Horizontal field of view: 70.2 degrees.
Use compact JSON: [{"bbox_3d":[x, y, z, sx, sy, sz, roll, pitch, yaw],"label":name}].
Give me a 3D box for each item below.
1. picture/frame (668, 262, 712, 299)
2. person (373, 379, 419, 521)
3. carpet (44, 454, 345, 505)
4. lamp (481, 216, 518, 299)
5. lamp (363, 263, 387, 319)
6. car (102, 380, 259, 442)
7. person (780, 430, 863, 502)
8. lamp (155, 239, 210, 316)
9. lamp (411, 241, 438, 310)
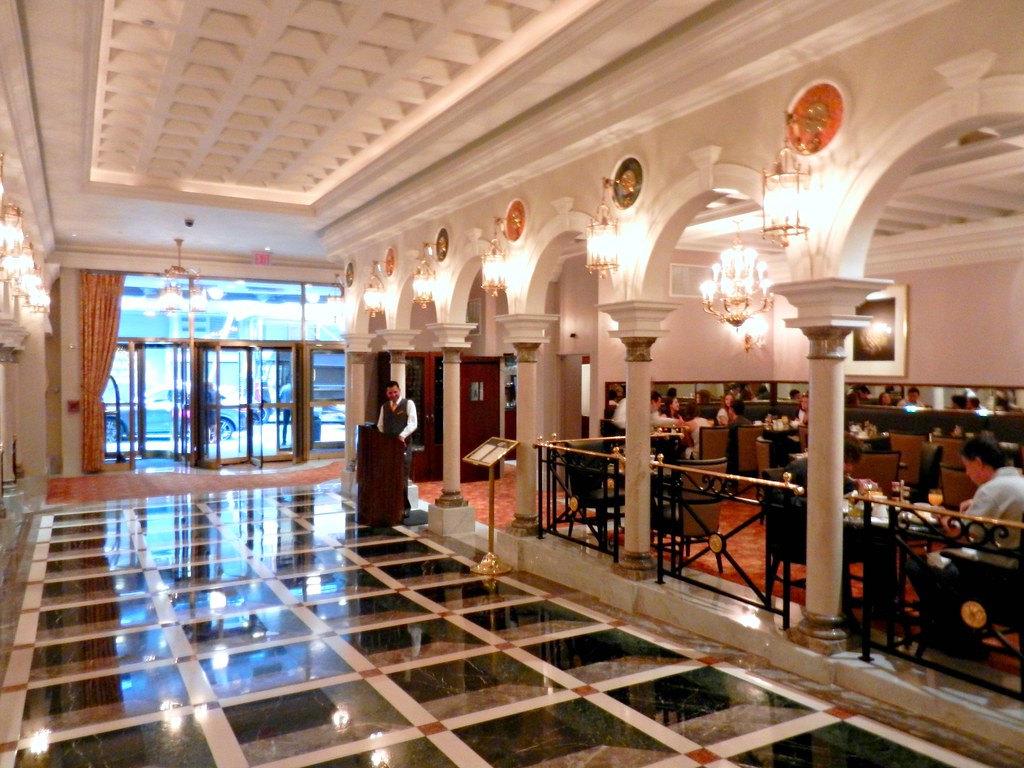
[{"bbox_3d":[3.154,-1.839,13.082,0.948,0.666,0.034,-1,-1,-23],"label":"picture/frame"},{"bbox_3d":[-1.688,0.900,10.168,0.649,1.834,0.603,-8,-12,27],"label":"person"},{"bbox_3d":[-5.957,1.765,13.523,4.748,0.199,3.404,-3,4,-28],"label":"carpet"},{"bbox_3d":[-0.165,-1.498,8.489,0.329,0.883,0.518,0,3,11],"label":"lamp"},{"bbox_3d":[-2.187,-1.521,11.519,0.315,0.808,0.655,-1,3,-11],"label":"lamp"},{"bbox_3d":[-7.006,0.634,15.579,3.083,1.024,1.407,2,1,-11],"label":"car"},{"bbox_3d":[2.726,0.721,6.378,0.701,0.696,0.749,0,2,20],"label":"person"},{"bbox_3d":[-6.461,-2.056,14.237,0.825,1.392,2.658,-2,4,-25],"label":"lamp"},{"bbox_3d":[-1.192,-1.517,10.016,0.297,0.871,0.748,-1,3,-6],"label":"lamp"}]
